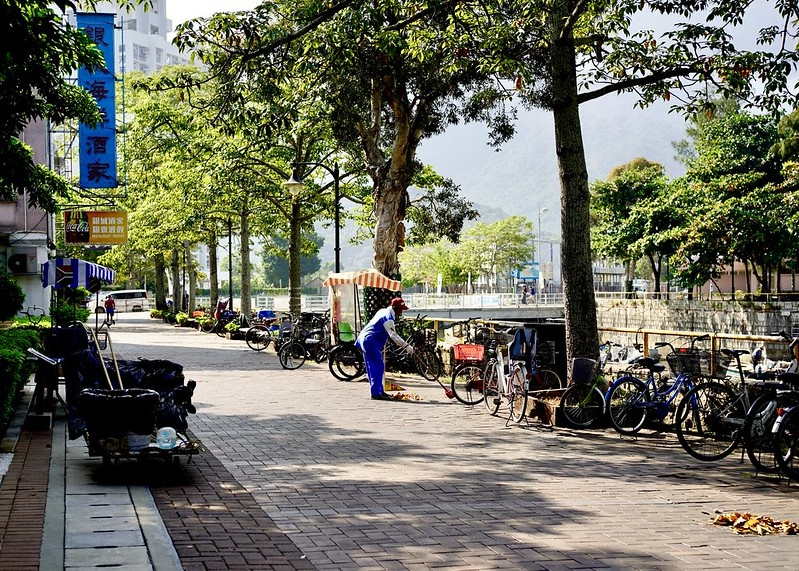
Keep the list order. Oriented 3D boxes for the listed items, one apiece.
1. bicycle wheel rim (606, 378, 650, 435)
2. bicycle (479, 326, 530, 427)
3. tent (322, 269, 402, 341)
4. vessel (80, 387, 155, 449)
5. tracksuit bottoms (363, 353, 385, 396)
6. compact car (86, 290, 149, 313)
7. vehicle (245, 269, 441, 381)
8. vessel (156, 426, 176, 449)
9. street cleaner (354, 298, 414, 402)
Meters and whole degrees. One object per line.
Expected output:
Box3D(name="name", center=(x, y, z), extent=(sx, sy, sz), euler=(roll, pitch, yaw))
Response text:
Box3D(name="bicycle wheel rim", center=(3.964, 2.107, 18.652), extent=(0.304, 1.044, 0.983), euler=(3, -4, -39))
Box3D(name="bicycle", center=(2.133, 1.664, 20.206), extent=(0.842, 1.613, 1.622), euler=(-1, 7, -12))
Box3D(name="tent", center=(-1.295, 0.645, 30.845), extent=(2.478, 2.214, 2.569), euler=(-5, 0, 37))
Box3D(name="vessel", center=(-4.306, 1.855, 15.795), extent=(1.063, 0.639, 1.146), euler=(2, -3, 18))
Box3D(name="tracksuit bottoms", center=(-0.527, 1.832, 22.352), extent=(0.356, 0.875, 0.680), euler=(0, 7, -6))
Box3D(name="compact car", center=(-18.010, 1.032, 69.068), extent=(2.943, 1.213, 1.591), euler=(2, -2, -17))
Box3D(name="vehicle", center=(-0.727, 1.054, 27.969), extent=(4.538, 1.826, 2.488), euler=(3, -3, -23))
Box3D(name="vessel", center=(-3.335, 2.183, 15.540), extent=(0.287, 0.296, 0.284), euler=(3, 8, 16))
Box3D(name="street cleaner", center=(-0.343, 1.334, 23.071), extent=(1.163, 1.979, 2.434), euler=(1, 7, 1))
